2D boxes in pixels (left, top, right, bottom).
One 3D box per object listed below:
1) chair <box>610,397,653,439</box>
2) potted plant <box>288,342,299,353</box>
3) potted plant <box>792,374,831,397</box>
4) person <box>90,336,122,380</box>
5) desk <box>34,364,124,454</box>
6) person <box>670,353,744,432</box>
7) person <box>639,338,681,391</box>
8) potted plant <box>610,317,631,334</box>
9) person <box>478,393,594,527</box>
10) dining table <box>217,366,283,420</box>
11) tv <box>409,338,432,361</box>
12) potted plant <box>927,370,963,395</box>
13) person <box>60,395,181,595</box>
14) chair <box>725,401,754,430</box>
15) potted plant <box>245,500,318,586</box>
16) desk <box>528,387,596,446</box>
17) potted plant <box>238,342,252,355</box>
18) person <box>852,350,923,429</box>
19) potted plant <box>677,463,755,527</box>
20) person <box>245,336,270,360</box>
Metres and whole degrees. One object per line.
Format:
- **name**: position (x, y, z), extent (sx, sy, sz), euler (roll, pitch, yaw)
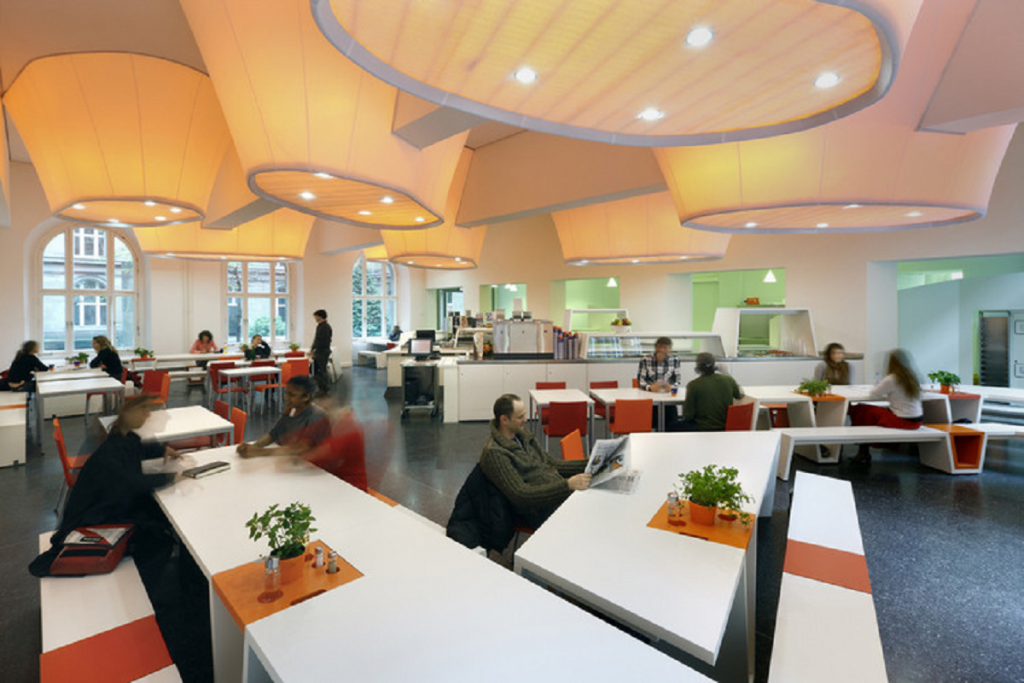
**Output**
- **chair**: position (1.519, 0.944, 8.143), extent (0.463, 0.791, 0.479), euler (-1, 5, 1)
- **potted plant**: position (-5.086, 0.153, 15.079), extent (0.221, 0.210, 0.224), euler (-1, 2, 45)
- **potted plant**: position (4.019, 0.614, 8.717), extent (0.321, 0.148, 0.320), euler (-2, 1, -14)
- **person**: position (-7.164, 0.374, 11.304), extent (0.515, 0.945, 0.413), euler (1, 15, -36)
- **desk**: position (-7.145, 0.831, 10.373), extent (0.854, 0.652, 1.247), euler (2, 16, -44)
- **person**: position (2.490, 0.632, 8.256), extent (0.788, 1.044, 0.682), euler (-15, 12, -20)
- **person**: position (2.096, 0.339, 9.131), extent (0.599, 0.825, 0.576), euler (-2, 20, -2)
- **potted plant**: position (2.007, -0.276, 11.806), extent (0.312, 0.203, 0.309), euler (0, -2, 0)
- **person**: position (0.280, 1.287, 5.836), extent (1.000, 1.538, 0.782), euler (-5, 9, 16)
- **dining table**: position (-4.774, 0.920, 11.966), extent (0.896, 0.822, 0.670), euler (-5, 10, -33)
- **tv**: position (-1.708, 0.159, 12.141), extent (0.590, 0.511, 0.317), euler (1, 0, -13)
- **potted plant**: position (5.910, 0.551, 8.976), extent (0.457, 0.318, 0.453), euler (1, -2, -24)
- **person**: position (-3.467, 1.384, 5.947), extent (1.300, 1.611, 0.971), euler (9, 2, -14)
- **chair**: position (2.690, 0.877, 7.646), extent (0.337, 0.379, 0.315), euler (0, -3, 20)
- **potted plant**: position (-1.650, 1.460, 4.683), extent (0.442, 0.534, 0.545), euler (-19, -6, 37)
- **desk**: position (0.732, 1.062, 8.451), extent (0.825, 0.748, 0.821), euler (0, 3, 7)
- **potted plant**: position (-6.210, 0.183, 15.046), extent (0.291, 0.203, 0.292), euler (-2, 0, 36)
- **person**: position (4.897, 0.611, 8.446), extent (0.766, 1.023, 0.365), euler (-1, 2, 28)
- **potted plant**: position (1.615, 1.216, 5.193), extent (0.444, 0.448, 0.504), euler (11, 5, 6)
- **person**: position (-5.285, 0.160, 13.435), extent (0.433, 0.699, 0.377), euler (2, 16, -1)
